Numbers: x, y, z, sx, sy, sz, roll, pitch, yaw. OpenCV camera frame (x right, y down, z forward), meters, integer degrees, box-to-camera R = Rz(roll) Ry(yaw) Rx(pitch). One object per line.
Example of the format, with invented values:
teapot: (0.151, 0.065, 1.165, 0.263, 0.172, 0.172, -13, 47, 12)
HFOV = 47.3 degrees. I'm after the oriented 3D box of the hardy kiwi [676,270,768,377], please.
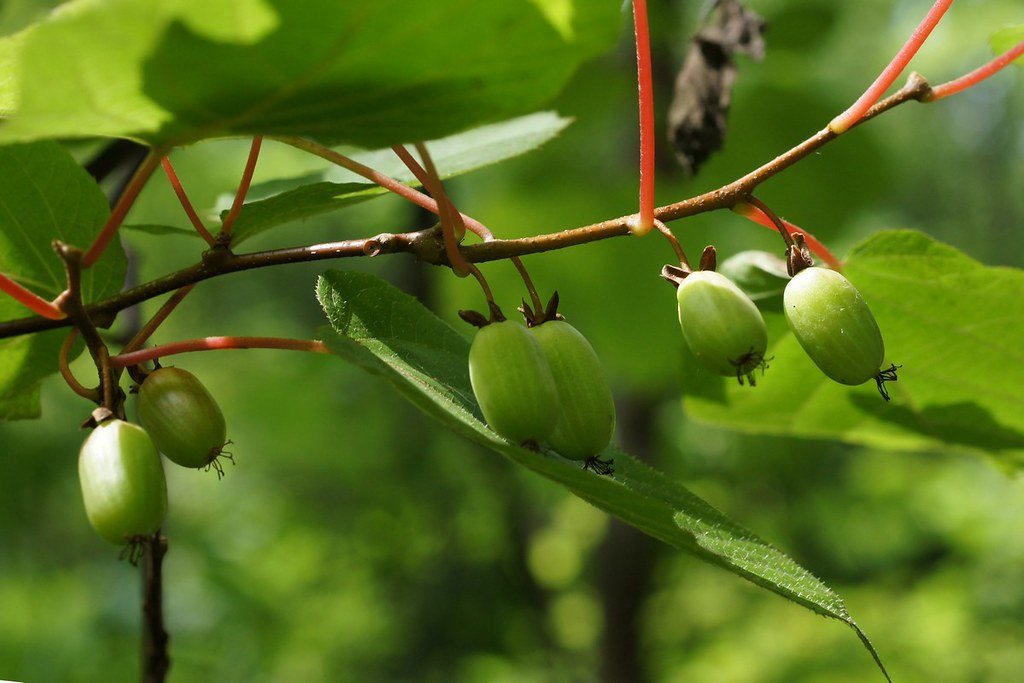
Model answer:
hardy kiwi: (0.495, -0.053, 2.756, 0.183, 0.246, 0.147, -44, -4, 16)
